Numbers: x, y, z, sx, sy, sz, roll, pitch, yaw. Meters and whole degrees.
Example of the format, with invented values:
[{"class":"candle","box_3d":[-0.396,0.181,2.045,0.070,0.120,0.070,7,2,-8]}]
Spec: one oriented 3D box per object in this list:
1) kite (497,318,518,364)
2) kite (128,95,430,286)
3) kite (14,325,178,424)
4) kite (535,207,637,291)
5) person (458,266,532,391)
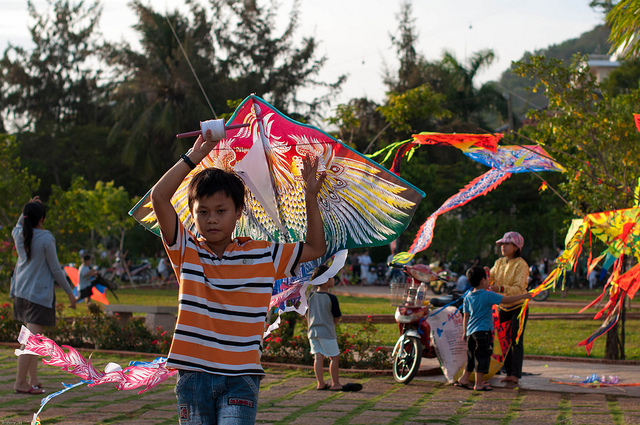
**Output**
[{"class":"kite","box_3d":[3.733,2.489,19.040,0.326,0.809,0.268,-8,-12,43]},{"class":"kite","box_3d":[-0.619,-0.415,20.057,6.867,4.932,0.526,15,0,-2]},{"class":"kite","box_3d":[-3.624,2.670,15.572,2.467,0.720,1.234,2,36,1]},{"class":"kite","box_3d":[5.241,0.525,18.679,1.470,1.944,1.759,-2,-1,-2]},{"class":"person","box_3d":[3.363,2.245,18.795,1.289,2.381,0.687,-3,-12,31]}]
